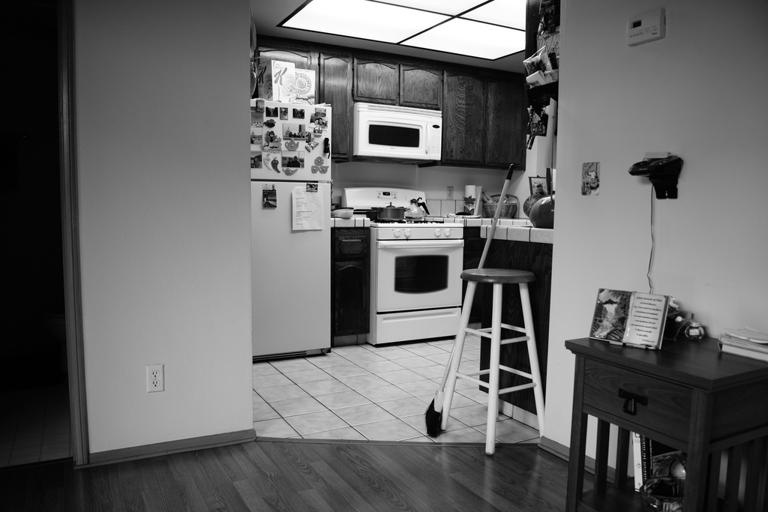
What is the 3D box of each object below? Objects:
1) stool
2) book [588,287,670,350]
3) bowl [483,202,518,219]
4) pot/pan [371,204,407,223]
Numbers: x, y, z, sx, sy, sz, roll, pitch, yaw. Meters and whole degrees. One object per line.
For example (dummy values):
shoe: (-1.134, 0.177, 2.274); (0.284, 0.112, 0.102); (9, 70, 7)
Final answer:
stool: (0.549, 0.483, 2.897); (0.500, 0.836, 0.643); (-1, 7, -9)
book: (0.911, 0.236, 2.055); (0.025, 0.173, 0.192); (17, -2, -24)
bowl: (1.133, -0.449, 5.531); (0.218, 0.112, 0.221); (0, 2, 0)
pot/pan: (0.036, -0.372, 4.925); (0.210, 0.138, 0.277); (1, 5, -5)
